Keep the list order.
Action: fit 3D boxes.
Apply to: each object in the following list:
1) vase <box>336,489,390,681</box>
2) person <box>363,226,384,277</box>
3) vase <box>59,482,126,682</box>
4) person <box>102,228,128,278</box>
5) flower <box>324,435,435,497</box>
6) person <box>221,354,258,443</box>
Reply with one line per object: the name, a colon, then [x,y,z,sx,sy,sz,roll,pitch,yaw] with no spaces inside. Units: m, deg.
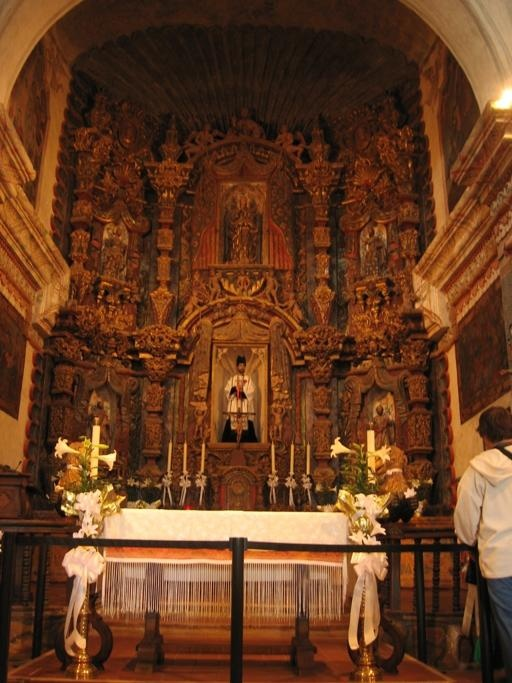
vase: [0.588,1.293,3.163,0.270,0.972,0.508,-1,-17,8]
person: [1.863,-1.456,9.241,0.338,1.015,0.095,4,-20,6]
vase: [-0.929,1.297,3.239,0.337,0.981,0.937,6,-18,-16]
person: [-2.260,-1.474,9.380,0.156,0.971,0.430,-14,-23,43]
flower: [0.852,0.873,4.227,0.578,0.437,0.447,-6,13,4]
person: [-0.227,0.824,8.734,0.509,1.430,0.733,2,-17,-3]
